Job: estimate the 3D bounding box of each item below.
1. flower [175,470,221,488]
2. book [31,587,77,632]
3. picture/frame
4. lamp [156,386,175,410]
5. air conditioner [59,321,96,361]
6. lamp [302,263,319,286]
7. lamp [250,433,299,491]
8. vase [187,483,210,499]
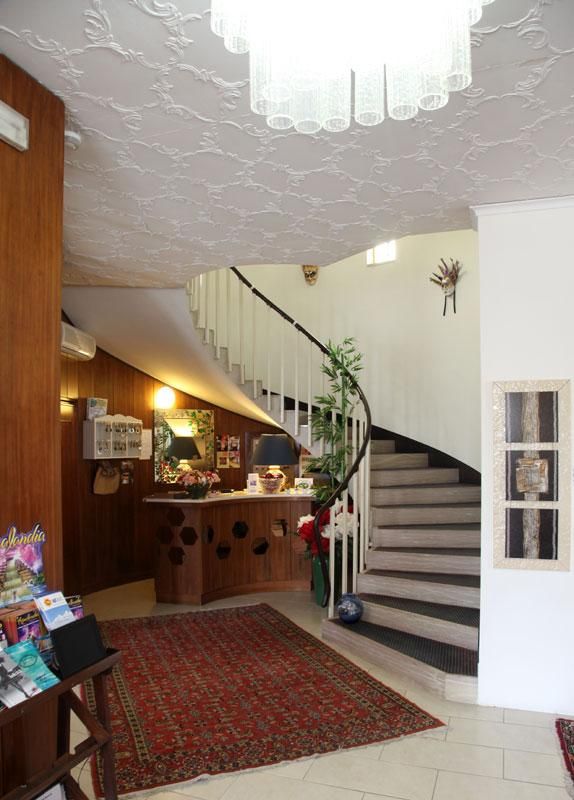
[{"bbox_3d":[-0.950,0.838,6.083,0.403,0.158,0.225,1,-6,-19],"label":"flower"},{"bbox_3d":[-0.762,0.693,1.870,0.031,0.130,0.128,-48,-26,23],"label":"book"},{"bbox_3d":[1.448,0.445,3.391,0.446,1.096,0.046,-3,-6,17],"label":"picture/frame"},{"bbox_3d":[-1.623,-0.034,7.562,0.259,0.319,0.259,-6,10,-39],"label":"lamp"},{"bbox_3d":[-2.082,-0.575,5.655,0.189,0.311,0.746,0,-6,-6],"label":"air conditioner"},{"bbox_3d":[0.298,-1.710,7.811,0.128,0.283,0.327,4,-7,-40],"label":"lamp"},{"bbox_3d":[-0.198,0.726,6.546,0.669,0.777,0.661,2,-2,14],"label":"lamp"},{"bbox_3d":[-0.966,0.962,6.084,0.265,0.175,0.228,-1,-6,-1],"label":"vase"}]
